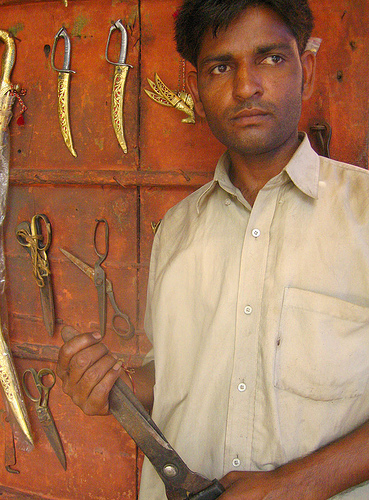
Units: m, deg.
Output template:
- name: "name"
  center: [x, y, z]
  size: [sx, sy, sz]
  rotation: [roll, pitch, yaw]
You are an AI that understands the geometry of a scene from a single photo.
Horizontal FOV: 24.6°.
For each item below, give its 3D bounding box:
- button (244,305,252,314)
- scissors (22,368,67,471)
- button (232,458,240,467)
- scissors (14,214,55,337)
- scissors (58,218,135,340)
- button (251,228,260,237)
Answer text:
- name: "button"
  center: [0.170, 0.162, 2.302]
  size: [0.020, 0.024, 0.005]
  rotation: [-3, 2, 17]
- name: "scissors"
  center: [-0.527, 0.605, 3.229]
  size: [0.128, 0.456, 0.031]
  rotation: [-22, -11, 16]
- name: "button"
  center: [0.138, 0.575, 2.290]
  size: [0.016, 0.020, 0.004]
  rotation: [0, -6, 4]
- name: "scissors"
  center: [-0.533, 0.075, 3.136]
  size: [0.139, 0.462, 0.056]
  rotation: [-7, 4, 25]
- name: "scissors"
  center: [-0.322, 0.110, 3.094]
  size: [0.283, 0.450, 0.077]
  rotation: [-2, 2, 24]
- name: "button"
  center: [0.193, -0.047, 2.323]
  size: [0.020, 0.022, 0.007]
  rotation: [-3, 2, -1]
